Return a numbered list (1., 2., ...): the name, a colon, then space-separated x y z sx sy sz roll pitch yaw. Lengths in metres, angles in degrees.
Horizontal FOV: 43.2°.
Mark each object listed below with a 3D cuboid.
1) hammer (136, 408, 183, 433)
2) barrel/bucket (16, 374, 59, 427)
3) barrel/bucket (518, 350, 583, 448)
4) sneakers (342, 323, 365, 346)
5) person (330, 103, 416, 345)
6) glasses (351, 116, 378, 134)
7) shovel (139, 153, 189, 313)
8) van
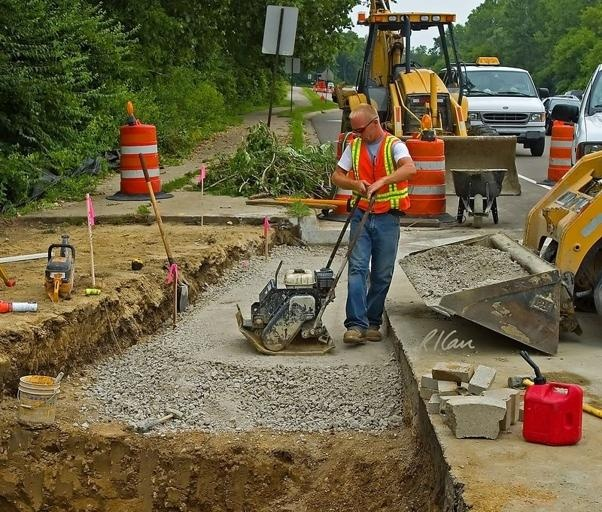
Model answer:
1. hammer: -1.079 1.244 5.711 0.128 0.058 0.330 16 18 33
2. barrel/bucket: -1.926 1.059 5.652 0.358 0.321 0.340 5 -1 0
3. barrel/bucket: 1.625 0.951 4.962 0.506 0.624 0.257 -2 -8 29
4. sneakers: 0.464 0.718 6.904 0.101 0.126 0.275 -2 -13 16
5. person: 0.650 -0.270 6.928 0.725 2.171 0.623 -1 13 2
6. glasses: 0.547 -1.136 6.687 0.172 0.088 0.175 -2 40 8
7. shovel: -1.544 -0.240 8.116 0.151 1.784 0.369 -18 8 -27
8. van: 5.808 -4.445 22.832 2.491 2.571 4.461 -1 1 -2
